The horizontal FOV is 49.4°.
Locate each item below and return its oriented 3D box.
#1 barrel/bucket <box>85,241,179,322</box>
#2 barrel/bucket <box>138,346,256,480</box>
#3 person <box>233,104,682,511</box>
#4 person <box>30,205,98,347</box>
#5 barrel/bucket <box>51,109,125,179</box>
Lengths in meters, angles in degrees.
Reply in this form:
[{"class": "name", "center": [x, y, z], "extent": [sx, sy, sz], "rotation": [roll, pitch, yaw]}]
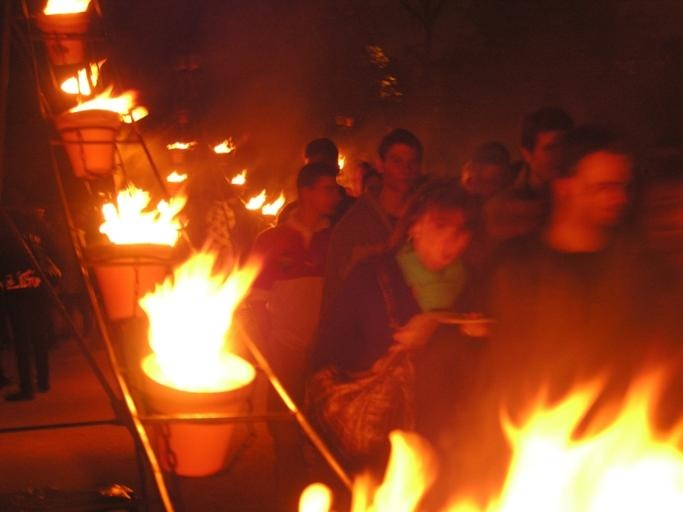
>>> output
[{"class": "barrel/bucket", "center": [-1.063, 0.127, 3.759], "extent": [0.470, 0.492, 0.387], "rotation": [-1, -90, 24]}, {"class": "barrel/bucket", "center": [-0.623, 0.652, 3.273], "extent": [0.526, 0.533, 0.465], "rotation": [1, -95, -10]}, {"class": "person", "center": [0.686, 0.401, 3.564], "extent": [1.314, 1.838, 0.665], "rotation": [-10, -21, 32]}, {"class": "person", "center": [-1.769, 0.100, 4.703], "extent": [0.229, 0.175, 1.057], "rotation": [-6, -65, 2]}, {"class": "barrel/bucket", "center": [-1.291, -0.576, 3.812], "extent": [0.313, 0.324, 0.341], "rotation": [-3, -84, -31]}]
